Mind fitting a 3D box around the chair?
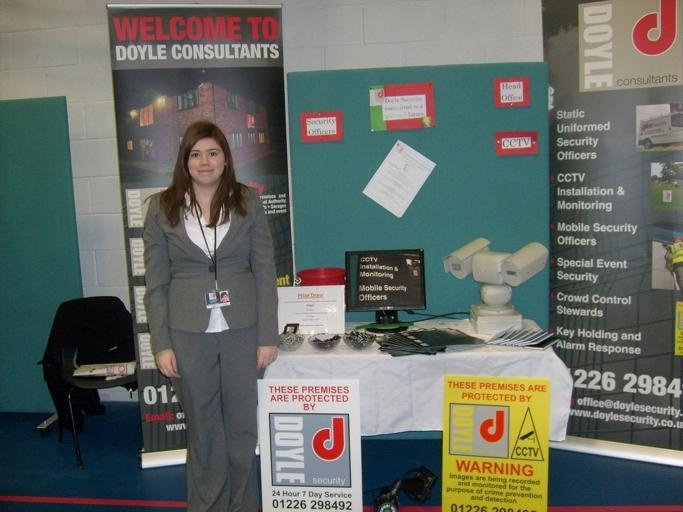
[{"bbox_3d":[-1.597,0.806,4.763,0.754,1.016,0.642,-8,8,-39],"label":"chair"}]
